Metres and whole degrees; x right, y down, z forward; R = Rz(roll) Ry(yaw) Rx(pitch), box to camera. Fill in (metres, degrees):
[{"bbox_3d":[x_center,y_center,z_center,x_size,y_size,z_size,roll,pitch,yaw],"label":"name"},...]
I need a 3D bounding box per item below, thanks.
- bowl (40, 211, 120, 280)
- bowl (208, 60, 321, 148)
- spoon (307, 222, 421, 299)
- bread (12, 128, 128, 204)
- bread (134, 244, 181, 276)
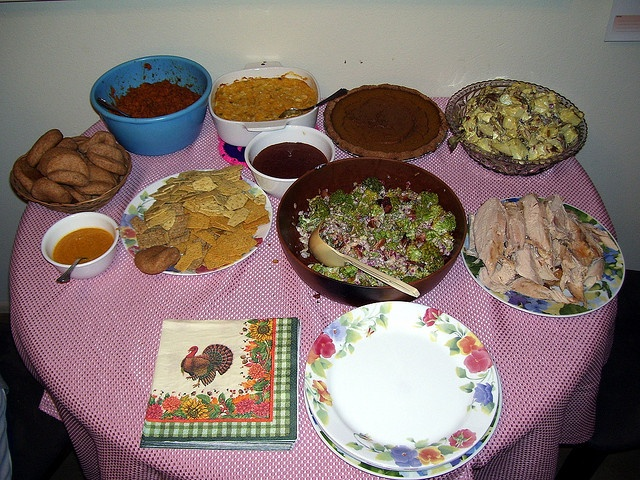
[{"bbox_3d":[-1.151,0.017,2.479,0.329,0.153,0.341,1,60,-2],"label":"bowl"},{"bbox_3d":[-0.336,-0.824,3.003,0.529,0.208,0.585,-2,58,-3],"label":"bowl"},{"bbox_3d":[0.233,0.104,2.291,0.606,0.183,0.206,30,57,30],"label":"spoon"},{"bbox_3d":[-1.266,-0.311,2.679,0.459,0.220,0.473,22,47,12],"label":"bread"},{"bbox_3d":[-0.769,0.087,2.420,0.148,0.045,0.148,-35,56,-26],"label":"bread"}]
